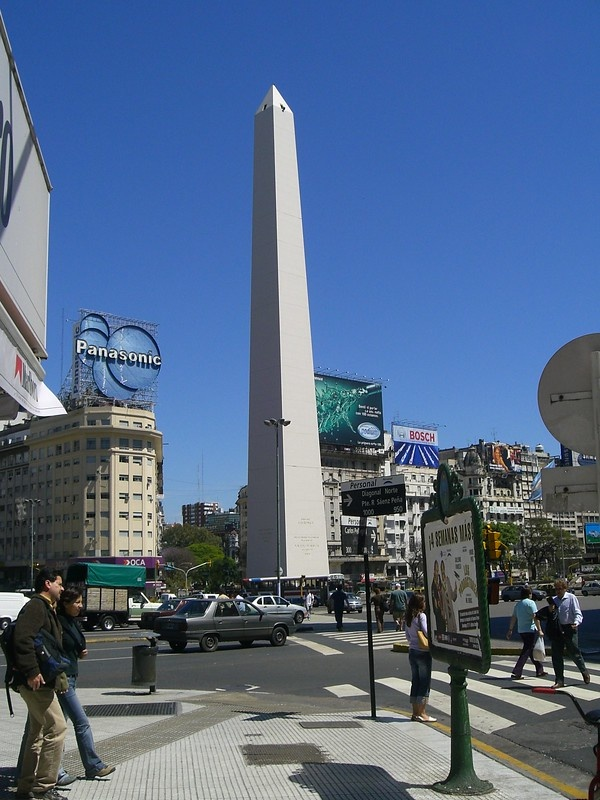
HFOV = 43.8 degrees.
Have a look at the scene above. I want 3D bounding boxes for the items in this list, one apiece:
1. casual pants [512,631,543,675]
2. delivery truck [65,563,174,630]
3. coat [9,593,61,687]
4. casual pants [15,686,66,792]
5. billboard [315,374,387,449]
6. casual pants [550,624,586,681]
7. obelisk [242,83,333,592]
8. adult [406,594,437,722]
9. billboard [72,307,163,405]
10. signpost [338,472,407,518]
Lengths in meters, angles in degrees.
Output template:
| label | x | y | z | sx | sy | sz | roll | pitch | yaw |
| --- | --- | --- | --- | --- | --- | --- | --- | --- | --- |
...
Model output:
| label | x | y | z | sx | sy | sz | roll | pitch | yaw |
| --- | --- | --- | --- | --- | --- | --- | --- | --- | --- |
| casual pants | 4.058 | 4.515 | 13.265 | 0.528 | 0.803 | 0.949 | -6 | -14 | 20 |
| delivery truck | -9.434 | 10.080 | 37.927 | 2.258 | 3.314 | 5.343 | -13 | -20 | 35 |
| coat | -1.771 | 1.644 | 5.040 | 0.222 | 0.495 | 0.440 | -7 | -31 | -7 |
| casual pants | -1.745 | 2.294 | 5.052 | 0.322 | 0.689 | 0.357 | 9 | -16 | -39 |
| billboard | 6.479 | 1.437 | 109.791 | 13.463 | 10.035 | 0.062 | 6 | 11 | 40 |
| casual pants | 4.546 | 4.217 | 12.565 | 0.488 | 0.912 | 2.184 | -6 | -14 | 19 |
| obelisk | -1.242 | -5.149 | 56.376 | 5.222 | 36.394 | 9.418 | -1 | -13 | 1 |
| adult | 1.545 | 3.131 | 9.089 | 0.513 | 1.513 | 0.477 | -2 | -12 | 17 |
| billboard | -18.986 | -3.917 | 74.800 | 9.361 | 9.422 | 1.384 | -2 | 6 | -45 |
| signpost | 0.964 | 1.254 | 9.765 | 0.648 | 0.609 | 1.674 | -1 | -13 | -3 |
